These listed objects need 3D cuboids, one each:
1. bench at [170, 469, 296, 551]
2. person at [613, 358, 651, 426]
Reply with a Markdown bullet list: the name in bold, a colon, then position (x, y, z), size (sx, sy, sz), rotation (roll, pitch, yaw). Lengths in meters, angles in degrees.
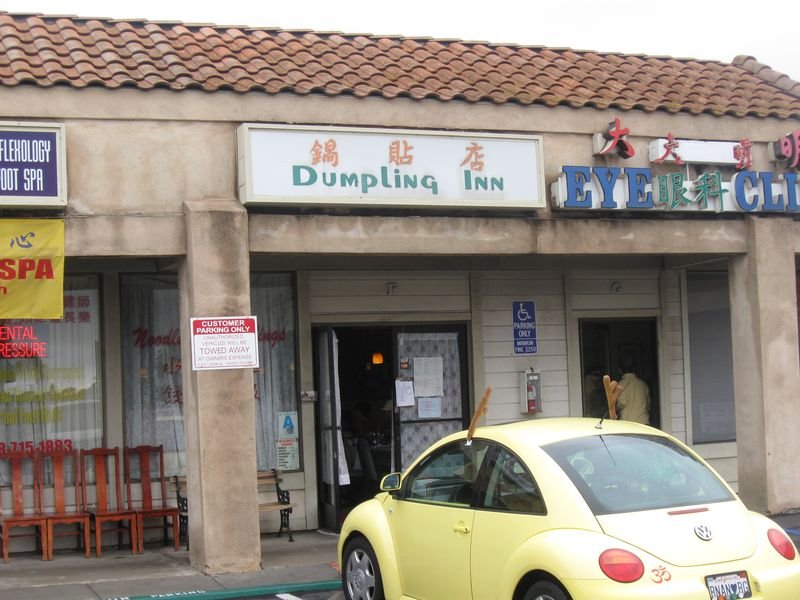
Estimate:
- **bench**: position (-2.214, 2.744, 13.634), size (1.632, 0.921, 0.858), rotation (-1, -6, -14)
- **person**: position (3.528, 1.374, 15.722), size (0.641, 1.042, 0.355), rotation (2, -7, -38)
